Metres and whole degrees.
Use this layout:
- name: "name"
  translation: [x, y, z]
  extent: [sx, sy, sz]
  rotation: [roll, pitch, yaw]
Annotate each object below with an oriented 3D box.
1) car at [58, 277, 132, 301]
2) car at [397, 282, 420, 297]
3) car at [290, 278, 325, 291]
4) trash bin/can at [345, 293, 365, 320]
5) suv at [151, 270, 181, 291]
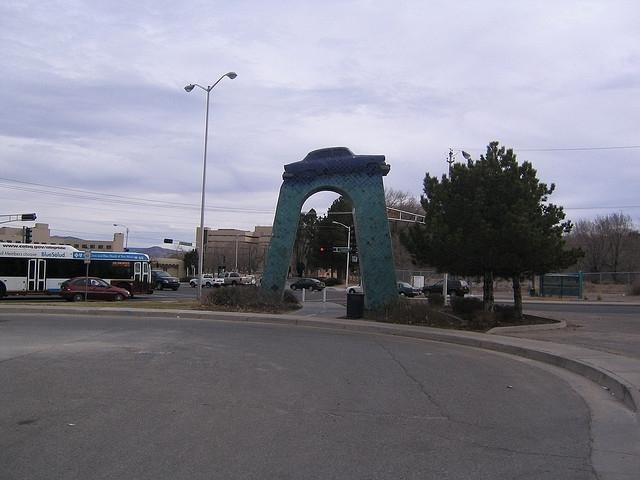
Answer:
- name: "car"
  translation: [-14.207, 3.176, 33.039]
  extent: [3.592, 1.323, 1.804]
  rotation: [1, -2, -21]
- name: "car"
  translation: [8.987, 5.028, 52.664]
  extent: [2.077, 1.314, 4.146]
  rotation: [0, -4, 10]
- name: "car"
  translation: [-1.802, 5.951, 66.190]
  extent: [4.229, 1.374, 1.991]
  rotation: [3, -1, 15]
- name: "trash bin/can"
  translation: [1.745, 3.297, 26.257]
  extent: [1.081, 1.530, 1.096]
  rotation: [-1, -3, 24]
- name: "suv"
  translation: [-17.537, 4.480, 57.981]
  extent: [3.363, 1.515, 1.668]
  rotation: [-7, -8, 40]
